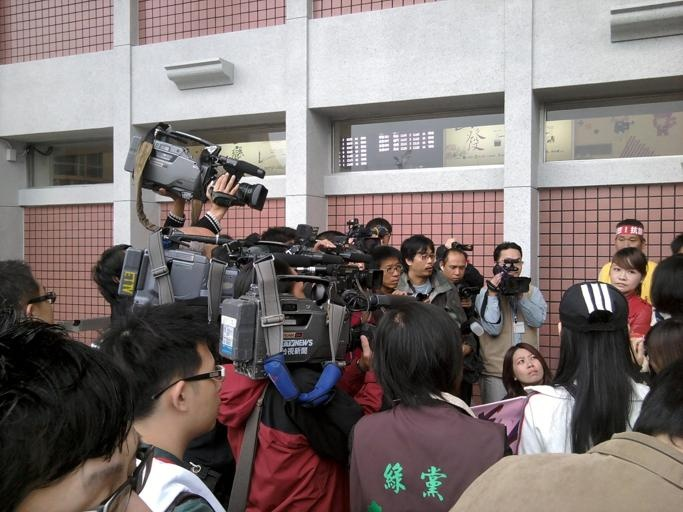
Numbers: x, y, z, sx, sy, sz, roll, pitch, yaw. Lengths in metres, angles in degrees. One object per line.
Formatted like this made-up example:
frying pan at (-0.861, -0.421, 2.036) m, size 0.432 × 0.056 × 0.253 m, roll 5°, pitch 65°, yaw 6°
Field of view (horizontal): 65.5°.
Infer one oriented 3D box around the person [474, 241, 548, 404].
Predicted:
person at (1.362, 0.794, 4.370) m, size 0.595 × 1.718 × 0.527 m, roll -1°, pitch 1°, yaw -12°

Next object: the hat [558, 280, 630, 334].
hat at (1.044, 0.210, 2.175) m, size 0.323 × 0.141 × 0.457 m, roll -1°, pitch 7°, yaw 21°

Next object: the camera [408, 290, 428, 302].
camera at (0.494, 0.262, 3.460) m, size 0.161 × 0.069 × 0.115 m, roll 8°, pitch 0°, yaw -19°

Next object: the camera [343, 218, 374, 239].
camera at (0.126, -0.184, 3.844) m, size 0.231 × 0.105 × 0.178 m, roll 3°, pitch 3°, yaw -11°

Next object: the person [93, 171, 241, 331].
person at (-1.105, -0.118, 3.477) m, size 0.749 × 1.066 × 1.110 m, roll 9°, pitch 5°, yaw -22°

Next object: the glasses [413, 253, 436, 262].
glasses at (0.662, 0.010, 4.191) m, size 0.183 × 0.048 × 0.070 m, roll 0°, pitch 0°, yaw -27°

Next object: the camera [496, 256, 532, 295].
camera at (1.304, 0.158, 4.151) m, size 0.168 × 0.270 × 0.304 m, roll -2°, pitch 12°, yaw -8°
